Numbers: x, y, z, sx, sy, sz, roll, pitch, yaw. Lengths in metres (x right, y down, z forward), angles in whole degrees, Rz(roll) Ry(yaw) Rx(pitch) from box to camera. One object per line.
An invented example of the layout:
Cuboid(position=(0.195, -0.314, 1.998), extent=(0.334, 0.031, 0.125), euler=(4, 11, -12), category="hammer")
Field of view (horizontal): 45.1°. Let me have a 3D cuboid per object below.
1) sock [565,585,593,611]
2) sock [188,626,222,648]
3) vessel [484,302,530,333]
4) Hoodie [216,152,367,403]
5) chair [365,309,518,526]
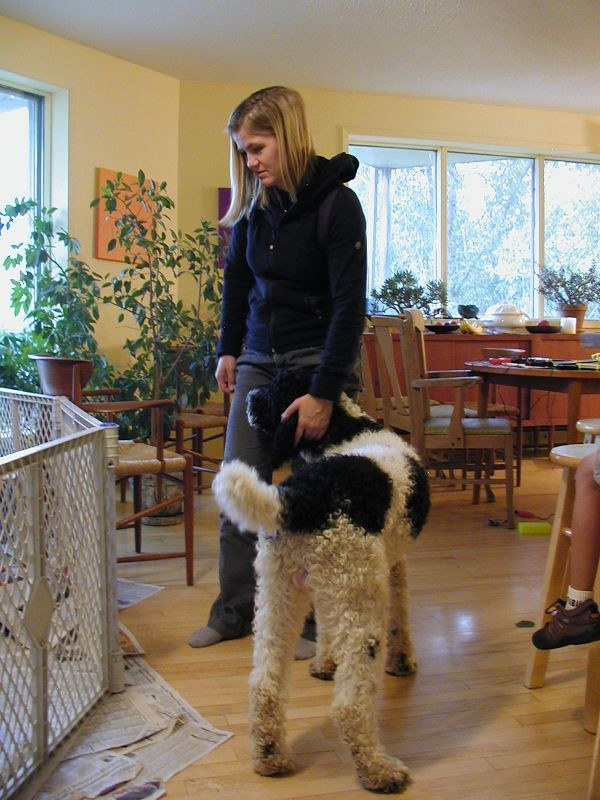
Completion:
Cuboid(position=(0.617, 0.438, 1.600), extent=(0.055, 0.053, 0.045), euler=(-1, 3, 17), category="sock")
Cuboid(position=(-0.283, 0.704, 2.156), extent=(0.046, 0.034, 0.089), euler=(41, 19, 34), category="sock")
Cuboid(position=(1.603, -0.642, 5.602), extent=(0.239, 0.161, 0.276), euler=(1, 6, -15), category="vessel")
Cuboid(position=(0.032, -0.322, 1.820), extent=(0.266, 0.621, 0.438), euler=(-1, 5, -18), category="Hoodie")
Cuboid(position=(0.811, 0.080, 3.740), extent=(0.731, 0.967, 0.761), euler=(6, 7, 41), category="chair")
